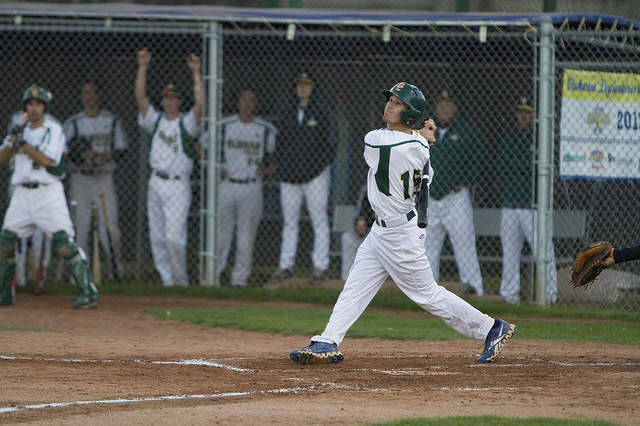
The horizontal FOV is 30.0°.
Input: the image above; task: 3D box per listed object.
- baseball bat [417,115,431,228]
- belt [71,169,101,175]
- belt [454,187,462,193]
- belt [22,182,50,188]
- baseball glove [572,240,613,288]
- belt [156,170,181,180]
[{"bbox_3d":[1.099,-0.210,12.579,0.105,0.813,0.107,4,-37,5],"label":"baseball bat"},{"bbox_3d":[-3.165,-0.561,16.123,0.396,0.075,0.035,2,3,1],"label":"belt"},{"bbox_3d":[1.823,-0.304,15.768,0.072,0.069,0.023,27,12,-25],"label":"belt"},{"bbox_3d":[-3.534,-0.351,14.810,0.316,0.074,0.050,3,3,4],"label":"belt"},{"bbox_3d":[3.044,0.554,13.469,0.144,0.496,0.389,40,16,7],"label":"baseball glove"},{"bbox_3d":[-2.013,-0.504,15.811,0.325,0.105,0.063,2,3,-7],"label":"belt"}]
